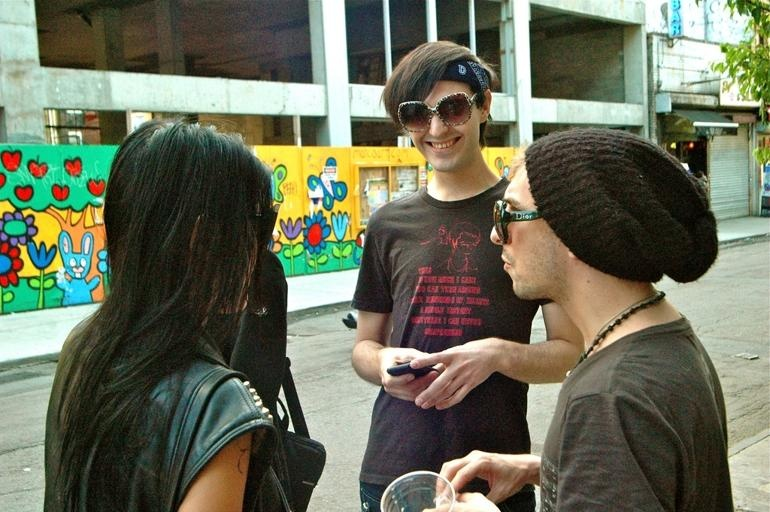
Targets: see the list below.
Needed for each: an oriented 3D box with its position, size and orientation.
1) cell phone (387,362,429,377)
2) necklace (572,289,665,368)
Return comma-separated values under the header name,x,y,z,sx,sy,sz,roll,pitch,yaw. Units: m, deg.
name,x,y,z,sx,sy,sz,roll,pitch,yaw
cell phone,0.111,0.504,3.249,0.136,0.037,0.080,-10,-15,-10
necklace,0.814,0.239,2.592,0.293,0.013,0.234,-45,6,21
